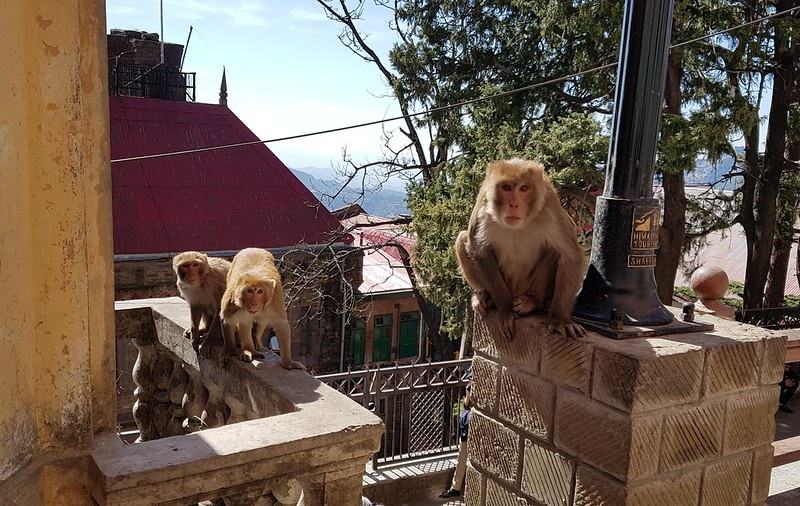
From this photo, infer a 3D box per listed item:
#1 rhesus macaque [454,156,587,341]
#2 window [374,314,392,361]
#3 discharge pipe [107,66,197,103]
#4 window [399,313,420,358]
[{"bbox_3d":[0.780,-0.054,4.085,0.839,1.134,0.803,1,8,32],"label":"rhesus macaque"},{"bbox_3d":[-0.593,3.042,22.038,0.850,1.659,0.093,-8,-14,36],"label":"window"},{"bbox_3d":[-7.734,-5.341,20.119,2.559,1.117,0.928,-2,28,-26],"label":"discharge pipe"},{"bbox_3d":[0.341,3.046,22.918,1.007,1.875,0.106,-2,6,-39],"label":"window"}]
